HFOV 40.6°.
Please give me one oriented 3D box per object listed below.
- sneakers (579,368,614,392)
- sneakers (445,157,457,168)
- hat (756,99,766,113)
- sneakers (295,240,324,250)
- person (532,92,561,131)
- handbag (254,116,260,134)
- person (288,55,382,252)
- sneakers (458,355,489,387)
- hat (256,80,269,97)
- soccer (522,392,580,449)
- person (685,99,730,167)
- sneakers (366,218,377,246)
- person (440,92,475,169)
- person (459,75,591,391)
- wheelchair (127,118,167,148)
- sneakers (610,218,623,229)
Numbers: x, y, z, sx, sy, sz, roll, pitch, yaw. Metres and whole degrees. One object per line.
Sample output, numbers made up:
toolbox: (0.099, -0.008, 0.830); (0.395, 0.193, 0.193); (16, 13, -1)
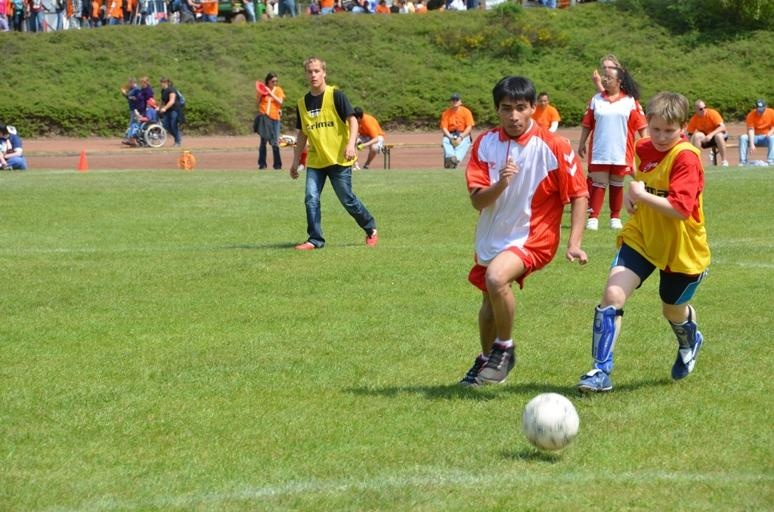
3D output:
sneakers: (1.889, 1.123, 9.485); (0.345, 0.160, 0.151); (5, -7, -29)
sneakers: (1.572, -2.242, 25.241); (0.198, 0.256, 0.228); (12, 4, -22)
hat: (9.000, -3.628, 25.153); (0.270, 0.249, 0.435); (2, 24, 14)
sneakers: (-1.033, -0.136, 14.150); (0.364, 0.145, 0.132); (3, -3, -30)
person: (3.036, -2.734, 20.496); (0.615, 0.836, 0.488); (1, 5, 12)
handbag: (-2.943, -3.007, 23.858); (0.117, 0.395, 0.435); (-3, 11, -6)
person: (-0.645, -1.349, 13.847); (1.250, 2.468, 1.010); (-1, 0, -11)
sneakers: (0.823, 1.075, 9.772); (0.161, 0.277, 0.451); (4, 15, 37)
hat: (-2.784, -3.774, 23.600); (0.251, 0.320, 0.872); (-3, 12, -7)
soccer: (1.401, 1.405, 8.953); (0.495, 0.511, 0.513); (-1, 2, 23)
person: (7.701, -2.932, 25.347); (0.926, 1.639, 1.180); (-9, 5, 11)
sneakers: (-0.207, -0.340, 14.269); (0.129, 0.371, 0.160); (-1, 10, 6)
person: (1.611, -2.871, 24.340); (0.810, 1.559, 1.627); (-1, 20, 9)
person: (1.224, -0.229, 9.659); (1.118, 2.792, 0.554); (-1, 10, 3)
wheelchair: (-7.206, -3.674, 31.839); (1.049, 1.001, 0.790); (15, 9, -10)
sneakers: (3.357, -0.474, 15.341); (0.151, 0.128, 0.281); (-3, -3, 5)
